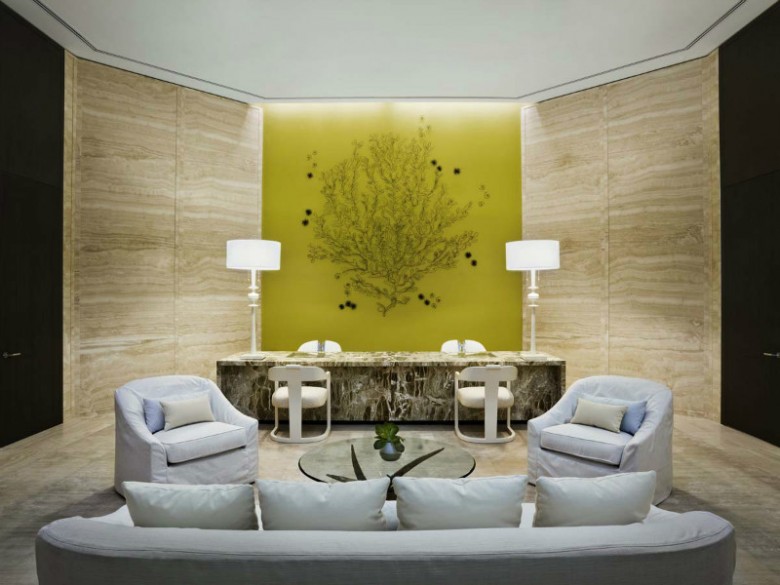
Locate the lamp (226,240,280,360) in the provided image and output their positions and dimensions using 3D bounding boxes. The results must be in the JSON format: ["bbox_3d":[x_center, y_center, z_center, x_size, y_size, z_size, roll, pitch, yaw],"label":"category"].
[{"bbox_3d":[-1.656,0.056,7.385,0.713,1.427,1.557,0,0,-14],"label":"lamp"}]

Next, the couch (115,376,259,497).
[{"bbox_3d":[-1.837,1.263,5.344,1.095,0.941,0.707,0,-1,-41],"label":"couch"}]

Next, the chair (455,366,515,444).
[{"bbox_3d":[1.040,1.190,6.602,0.785,0.966,0.820,0,3,0],"label":"chair"}]

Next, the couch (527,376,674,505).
[{"bbox_3d":[1.892,1.323,5.392,1.202,0.946,1.144,0,4,29],"label":"couch"}]

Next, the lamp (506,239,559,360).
[{"bbox_3d":[1.780,0.030,7.370,0.699,1.437,1.459,0,0,16],"label":"lamp"}]

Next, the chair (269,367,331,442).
[{"bbox_3d":[-0.953,1.175,6.557,0.745,0.914,0.834,0,3,3],"label":"chair"}]

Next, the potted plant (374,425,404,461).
[{"bbox_3d":[-0.008,1.241,4.943,0.301,0.332,0.280,2,-9,-6],"label":"potted plant"}]
